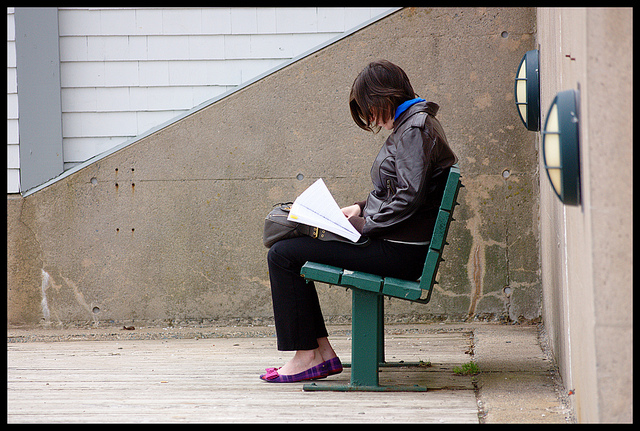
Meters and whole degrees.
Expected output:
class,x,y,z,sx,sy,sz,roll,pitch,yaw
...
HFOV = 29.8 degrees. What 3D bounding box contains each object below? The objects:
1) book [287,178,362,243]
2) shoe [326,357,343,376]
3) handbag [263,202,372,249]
class,x,y,z,sx,sy,sz,roll,pitch,yaw
book,0.006,-0.061,8.458,0.477,0.427,0.488,2,12,-6
shoe,0.099,1.064,8.530,0.108,0.118,0.042,-2,-6,-3
handbag,-0.090,0.064,8.427,0.568,0.226,0.330,14,-5,8
